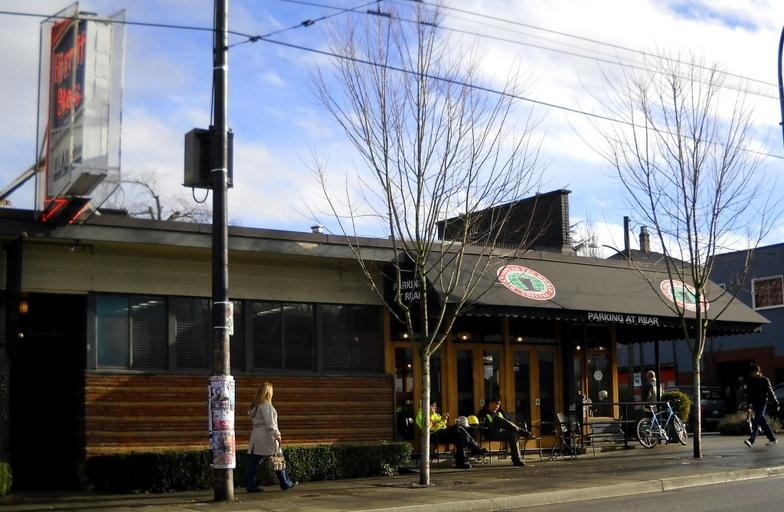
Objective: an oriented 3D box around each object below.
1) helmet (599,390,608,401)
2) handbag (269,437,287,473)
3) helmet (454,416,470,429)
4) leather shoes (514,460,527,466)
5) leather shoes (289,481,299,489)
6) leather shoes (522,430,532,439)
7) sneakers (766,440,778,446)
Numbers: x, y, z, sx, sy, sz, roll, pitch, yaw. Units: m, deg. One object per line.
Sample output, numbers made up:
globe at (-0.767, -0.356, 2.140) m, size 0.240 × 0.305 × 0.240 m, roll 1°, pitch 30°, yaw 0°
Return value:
helmet at (6.534, 4.300, 34.878) m, size 0.209 × 0.261 × 0.297 m, roll 2°, pitch -20°, yaw 2°
handbag at (-2.636, 4.570, 26.002) m, size 0.261 × 0.732 × 0.493 m, roll -3°, pitch -13°, yaw 1°
helmet at (1.879, 4.462, 30.277) m, size 0.321 × 0.232 × 0.236 m, roll -9°, pitch -1°, yaw 15°
leather shoes at (3.452, 5.560, 30.320) m, size 0.337 × 0.241 × 0.123 m, roll -4°, pitch -1°, yaw 2°
leather shoes at (-2.341, 5.528, 27.354) m, size 0.114 × 0.165 × 0.386 m, roll 10°, pitch 15°, yaw 15°
leather shoes at (3.715, 4.842, 30.921) m, size 0.238 × 0.279 × 0.322 m, roll 0°, pitch -21°, yaw -1°
sneakers at (11.194, 5.477, 33.102) m, size 0.433 × 0.192 × 0.145 m, roll 5°, pitch -11°, yaw -30°
